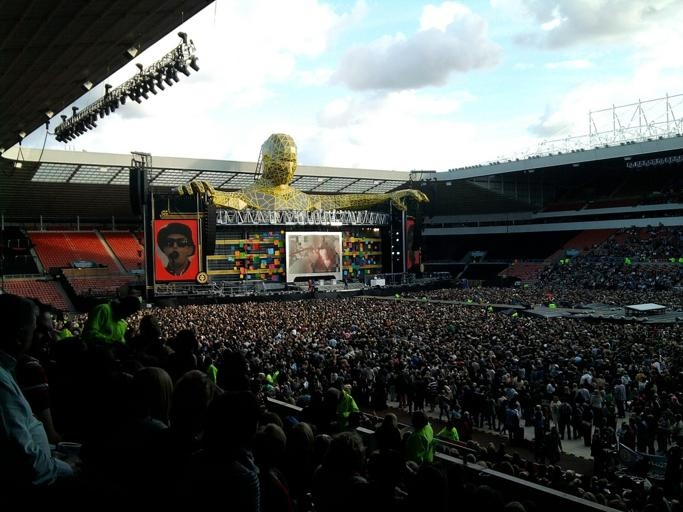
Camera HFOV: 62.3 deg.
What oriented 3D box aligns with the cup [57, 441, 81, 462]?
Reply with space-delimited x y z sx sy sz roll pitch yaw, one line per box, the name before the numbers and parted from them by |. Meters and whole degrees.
cup | -2.433 1.743 5.025 0.198 0.160 0.361 0 -2 -28
